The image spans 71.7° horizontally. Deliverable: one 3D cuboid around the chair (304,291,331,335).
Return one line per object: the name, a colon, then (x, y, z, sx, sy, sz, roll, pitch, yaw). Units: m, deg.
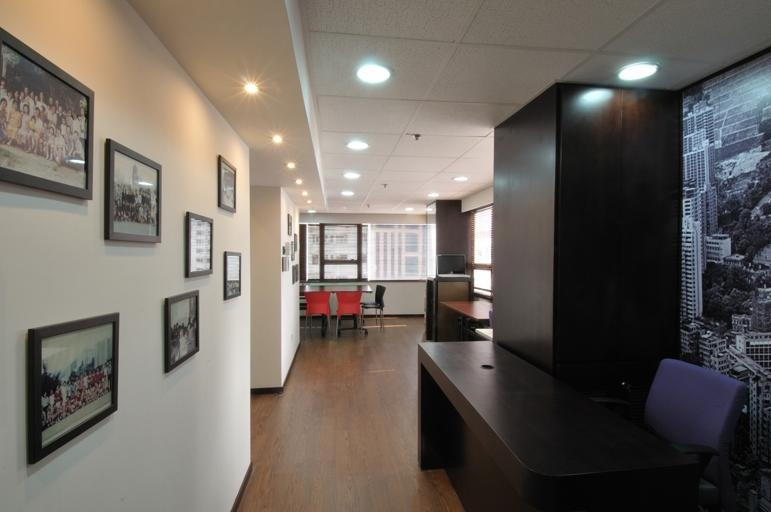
chair: (-0.960, 0.698, 7.544, 0.370, 0.681, 0.479, 1, 23, -5)

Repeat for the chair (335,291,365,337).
chair: (-0.516, 0.773, 7.532, 0.391, 0.634, 0.448, 0, -7, -12)

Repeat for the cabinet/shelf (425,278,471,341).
cabinet/shelf: (0.764, 0.632, 6.428, 0.311, 0.775, 0.821, 0, 0, 0)
